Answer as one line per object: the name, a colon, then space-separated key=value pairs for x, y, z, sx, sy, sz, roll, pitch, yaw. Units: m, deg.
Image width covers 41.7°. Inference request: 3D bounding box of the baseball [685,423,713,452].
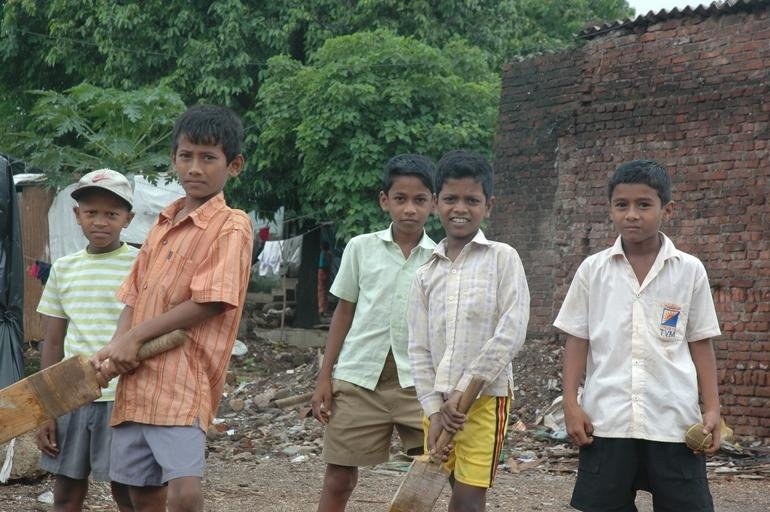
baseball: x=2.639 y=1.522 z=8.524 sx=0.234 sy=0.180 sz=0.106 roll=41 pitch=-6 yaw=4
